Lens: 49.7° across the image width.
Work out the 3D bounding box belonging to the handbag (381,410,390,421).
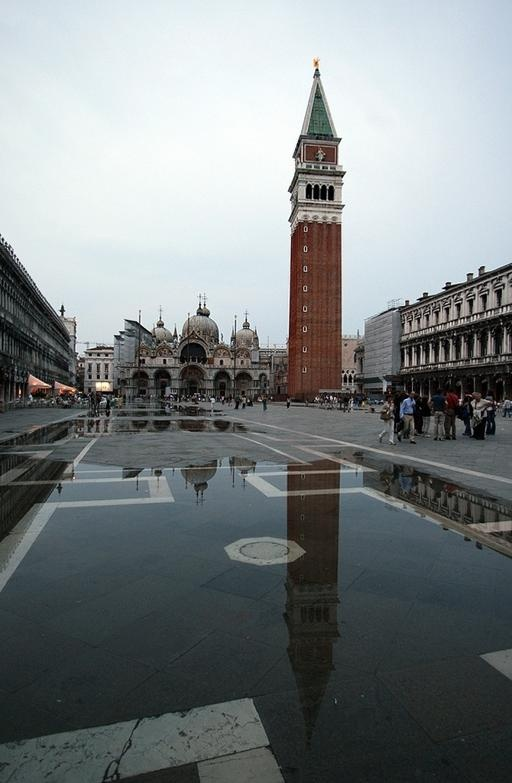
[{"bbox_3d":[3.371,0.641,14.459,0.194,0.419,0.288,3,-3,-7],"label":"handbag"}]

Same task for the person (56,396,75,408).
[{"bbox_3d":[-16.680,0.916,49.051,0.716,1.087,1.514,1,-5,-36],"label":"person"}]
